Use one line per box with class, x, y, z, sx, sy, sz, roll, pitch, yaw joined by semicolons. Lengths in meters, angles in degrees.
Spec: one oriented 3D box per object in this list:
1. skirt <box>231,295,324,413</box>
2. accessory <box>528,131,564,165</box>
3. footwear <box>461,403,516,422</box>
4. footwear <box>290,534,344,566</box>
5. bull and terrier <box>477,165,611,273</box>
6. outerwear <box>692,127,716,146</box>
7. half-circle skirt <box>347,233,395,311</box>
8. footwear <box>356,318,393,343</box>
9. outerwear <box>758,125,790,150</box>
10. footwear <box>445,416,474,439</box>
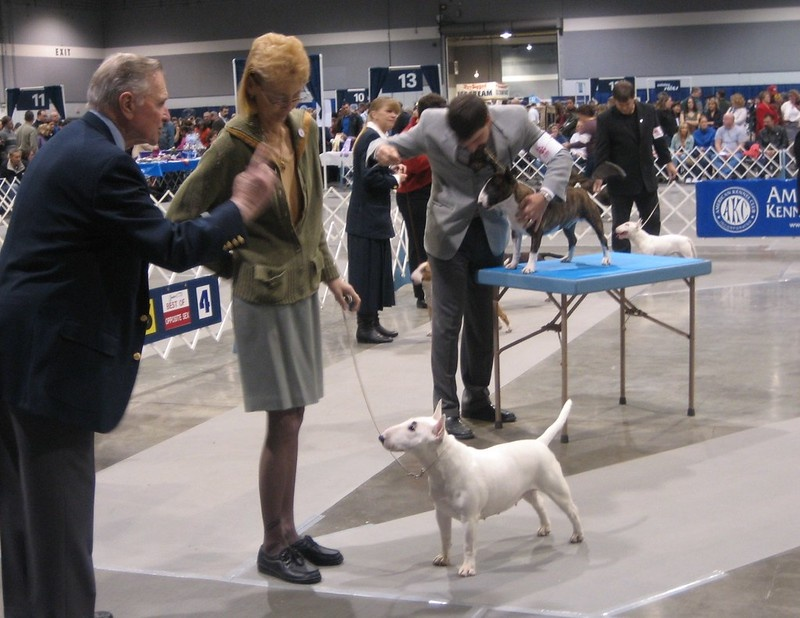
skirt;-0.445;0.154;2.969;0.231;0.472;0.332;-4;-2;41
accessory;0.796;-0.870;4.229;0.191;0.139;0.143;34;55;14
footwear;0.548;0.641;4.801;0.351;0.142;0.122;-3;-1;12
footwear;-0.334;0.986;3.153;0.236;0.099;0.090;3;8;13
bull and terrier;0.846;-0.521;4.353;0.974;0.582;0.333;-4;7;-30
outerwear;6.498;-3.678;16.259;0.456;0.523;0.284;0;-1;35
half-circle skirt;-0.218;-0.339;6.763;0.359;0.680;0.351;18;19;36
footwear;-0.266;0.196;6.771;0.396;0.290;0.155;-1;5;-4
outerwear;7.553;-3.479;15.408;0.411;0.386;0.567;-1;35;41
footwear;0.341;0.683;4.421;0.218;0.097;0.096;1;4;36
